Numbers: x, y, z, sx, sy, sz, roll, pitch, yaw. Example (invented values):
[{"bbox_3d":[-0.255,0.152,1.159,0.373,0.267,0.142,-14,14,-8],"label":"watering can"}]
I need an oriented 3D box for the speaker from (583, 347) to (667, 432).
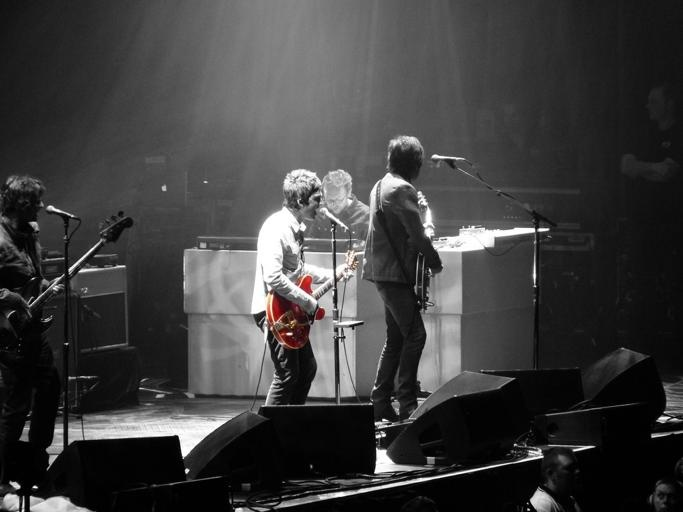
[{"bbox_3d":[1.901,0.905,4.707,0.427,0.561,0.586,7,-3,3],"label":"speaker"}]

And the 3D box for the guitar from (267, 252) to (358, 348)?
[{"bbox_3d":[-0.213,0.280,4.979,0.128,0.406,0.909,-9,28,35],"label":"guitar"}]

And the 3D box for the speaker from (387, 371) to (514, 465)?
[{"bbox_3d":[0.666,1.085,3.857,0.521,0.434,0.681,7,-14,35],"label":"speaker"}]

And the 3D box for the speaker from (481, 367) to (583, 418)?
[{"bbox_3d":[1.351,0.861,4.458,0.431,0.316,0.449,-3,1,40],"label":"speaker"}]

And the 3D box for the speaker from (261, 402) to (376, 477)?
[{"bbox_3d":[-0.085,0.972,3.611,0.504,0.433,0.336,1,0,-6],"label":"speaker"}]

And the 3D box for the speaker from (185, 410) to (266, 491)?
[{"bbox_3d":[-0.645,0.979,3.491,0.306,0.329,0.586,1,-7,-35],"label":"speaker"}]
